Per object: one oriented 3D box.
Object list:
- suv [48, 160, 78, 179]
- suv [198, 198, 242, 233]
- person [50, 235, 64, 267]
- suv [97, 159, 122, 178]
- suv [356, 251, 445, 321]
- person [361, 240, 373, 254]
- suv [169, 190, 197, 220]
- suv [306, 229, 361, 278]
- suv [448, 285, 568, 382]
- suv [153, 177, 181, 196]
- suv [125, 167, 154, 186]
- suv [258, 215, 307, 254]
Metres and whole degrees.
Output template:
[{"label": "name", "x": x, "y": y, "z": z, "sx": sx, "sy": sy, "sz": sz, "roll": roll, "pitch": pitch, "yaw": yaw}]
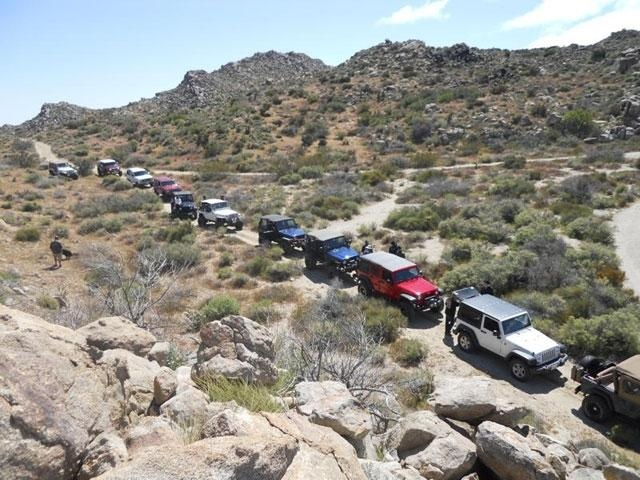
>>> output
[{"label": "suv", "x": -23.541, "y": -6.516, "z": 52.474, "sx": 1.518, "sy": 1.415, "sz": 3.628, "roll": -15, "pitch": 22, "yaw": -38}, {"label": "suv", "x": -6.693, "y": -1.819, "z": 38.399, "sx": 1.686, "sy": 1.716, "sz": 2.942, "roll": -10, "pitch": 22, "yaw": -38}, {"label": "person", "x": -14.268, "y": 0.601, "z": 30.866, "sx": 0.760, "sy": 1.193, "sz": 1.725, "roll": -21, "pitch": 15, "yaw": -24}, {"label": "suv", "x": -20.212, "y": -6.912, "z": 54.423, "sx": 1.451, "sy": 1.445, "sz": 2.724, "roll": -10, "pitch": 15, "yaw": -33}, {"label": "suv", "x": 3.641, "y": 1.863, "z": 26.508, "sx": 2.096, "sy": 2.118, "sz": 3.833, "roll": -12, "pitch": 25, "yaw": -33}, {"label": "person", "x": 2.542, "y": 0.323, "z": 29.486, "sx": 0.503, "sy": 0.355, "sz": 0.742, "roll": -11, "pitch": 1, "yaw": 31}, {"label": "suv", "x": -9.461, "y": -2.413, "z": 39.818, "sx": 1.197, "sy": 1.531, "sz": 2.320, "roll": -2, "pitch": 7, "yaw": -20}, {"label": "suv", "x": 0.713, "y": 0.734, "z": 30.116, "sx": 1.667, "sy": 1.849, "sz": 2.945, "roll": -11, "pitch": 21, "yaw": -30}, {"label": "suv", "x": 7.728, "y": 3.990, "z": 24.055, "sx": 2.317, "sy": 2.779, "sz": 4.557, "roll": -18, "pitch": 28, "yaw": -35}, {"label": "suv", "x": -12.390, "y": -4.433, "z": 46.124, "sx": 1.315, "sy": 1.187, "sz": 2.277, "roll": -14, "pitch": 24, "yaw": -32}, {"label": "suv", "x": -15.840, "y": -5.636, "z": 50.099, "sx": 1.505, "sy": 1.391, "sz": 3.626, "roll": -14, "pitch": 24, "yaw": -32}, {"label": "suv", "x": -2.061, "y": -0.275, "z": 33.302, "sx": 1.652, "sy": 1.591, "sz": 2.696, "roll": -12, "pitch": 23, "yaw": -37}]
